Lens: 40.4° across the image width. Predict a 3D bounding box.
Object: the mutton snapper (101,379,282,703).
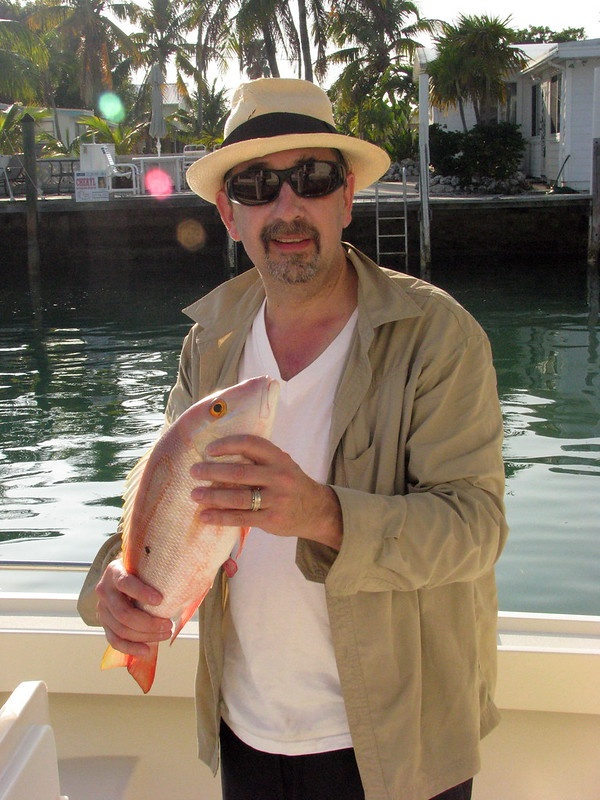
[{"bbox_3d":[-0.218,0.206,1.601,0.365,0.505,0.134,2,12,26],"label":"mutton snapper"}]
